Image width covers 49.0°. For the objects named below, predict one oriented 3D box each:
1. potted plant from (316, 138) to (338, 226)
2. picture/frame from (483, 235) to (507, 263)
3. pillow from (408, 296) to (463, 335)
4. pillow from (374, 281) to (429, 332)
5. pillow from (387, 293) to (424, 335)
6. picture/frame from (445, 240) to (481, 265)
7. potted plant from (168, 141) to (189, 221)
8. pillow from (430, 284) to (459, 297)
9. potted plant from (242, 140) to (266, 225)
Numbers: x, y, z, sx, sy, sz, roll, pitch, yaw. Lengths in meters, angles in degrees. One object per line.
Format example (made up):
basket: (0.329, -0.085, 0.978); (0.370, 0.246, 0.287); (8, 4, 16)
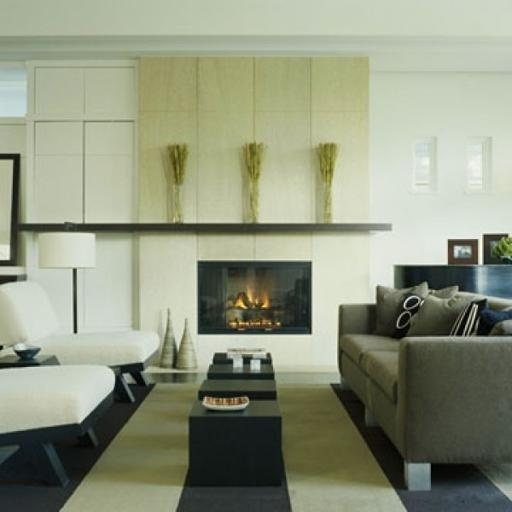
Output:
potted plant: (0.686, -0.711, 5.485); (0.210, 0.784, 0.143); (1, 3, 8)
picture/frame: (2.402, -0.073, 5.777); (0.251, 0.285, 0.064); (1, -12, 20)
pillow: (1.205, 0.415, 3.767); (0.253, 0.303, 0.116); (8, -16, 25)
pillow: (1.121, 0.412, 4.322); (0.304, 0.354, 0.126); (2, -7, 16)
pillow: (1.137, 0.461, 4.298); (0.100, 0.295, 0.252); (15, 10, -18)
picture/frame: (2.166, -0.031, 5.832); (0.211, 0.233, 0.024); (0, -1, 3)
potted plant: (-0.764, -0.699, 5.482); (0.210, 0.761, 0.149); (0, 3, -10)
pillow: (1.431, 0.276, 4.288); (0.128, 0.046, 0.148); (3, -38, 8)
potted plant: (-0.028, -0.717, 5.477); (0.222, 0.796, 0.167); (0, 3, -3)
